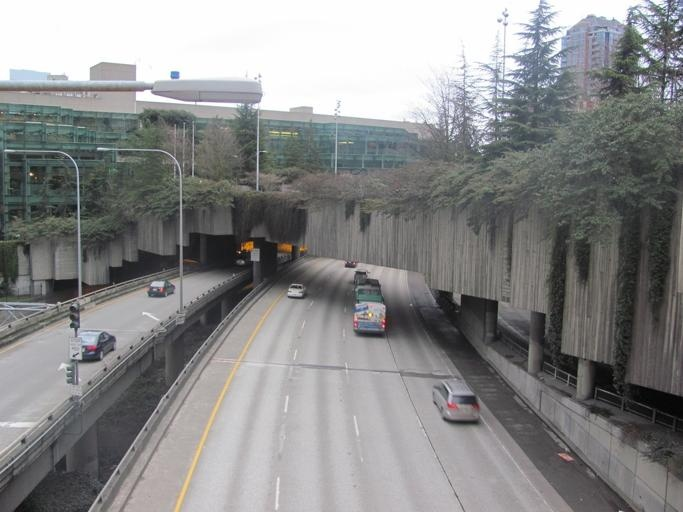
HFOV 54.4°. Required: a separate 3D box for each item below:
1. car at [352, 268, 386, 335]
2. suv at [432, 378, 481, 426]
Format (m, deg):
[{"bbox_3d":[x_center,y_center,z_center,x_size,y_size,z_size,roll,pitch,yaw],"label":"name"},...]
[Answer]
[{"bbox_3d":[2.201,3.915,52.180,1.643,2.257,5.408,1,13,1],"label":"car"},{"bbox_3d":[6.652,8.288,38.289,2.514,2.199,2.548,1,3,-3],"label":"suv"}]
